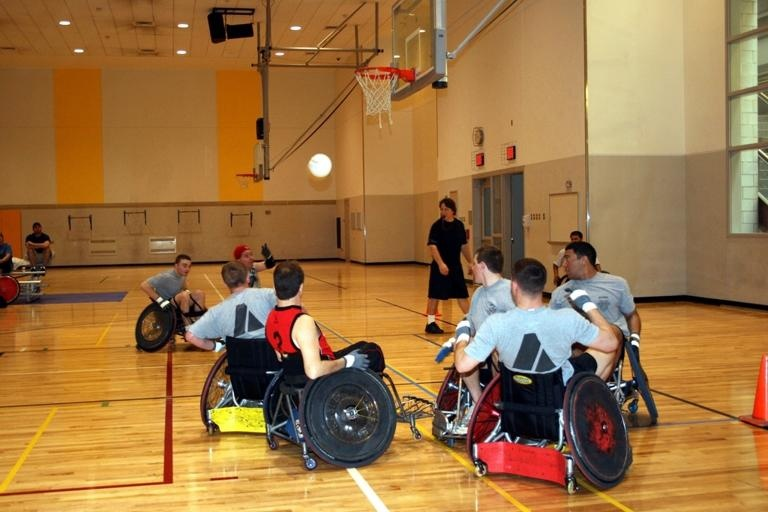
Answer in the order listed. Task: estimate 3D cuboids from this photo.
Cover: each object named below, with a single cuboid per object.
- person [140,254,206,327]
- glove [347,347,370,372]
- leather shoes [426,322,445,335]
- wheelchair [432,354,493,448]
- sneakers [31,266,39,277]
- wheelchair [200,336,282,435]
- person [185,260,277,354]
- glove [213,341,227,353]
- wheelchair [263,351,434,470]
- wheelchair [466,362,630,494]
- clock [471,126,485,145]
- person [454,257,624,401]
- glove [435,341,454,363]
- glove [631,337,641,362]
[{"bbox_3d":[-2.967,0.580,8.545,0.784,1.180,0.745,-8,-6,25],"label":"person"},{"bbox_3d":[-0.208,0.835,4.699,0.044,0.148,0.141,-11,4,36],"label":"glove"},{"bbox_3d":[0.807,1.128,9.161,0.147,0.129,0.272,0,-3,-30],"label":"leather shoes"},{"bbox_3d":[0.769,1.370,5.227,0.702,0.636,0.581,-2,-2,-6],"label":"wheelchair"},{"bbox_3d":[-8.301,0.360,14.043,0.166,0.249,0.093,-1,-1,2],"label":"sneakers"},{"bbox_3d":[-1.130,1.022,5.101,0.618,0.949,0.776,9,-8,-7],"label":"wheelchair"},{"bbox_3d":[-1.300,0.456,5.253,0.837,0.788,0.479,-2,3,20],"label":"person"},{"bbox_3d":[-1.493,0.838,5.405,0.098,0.136,0.133,1,-6,-1],"label":"glove"},{"bbox_3d":[-0.335,1.110,5.069,1.083,1.135,0.901,-6,5,-22],"label":"wheelchair"},{"bbox_3d":[1.236,1.154,4.400,0.833,1.046,1.083,-13,3,39],"label":"wheelchair"},{"bbox_3d":[2.394,-3.016,14.887,0.118,0.492,0.445,-4,3,-18],"label":"clock"},{"bbox_3d":[1.145,0.502,4.489,1.327,1.218,0.856,-2,30,16],"label":"person"},{"bbox_3d":[0.512,0.807,4.942,0.134,0.215,0.396,-3,3,7],"label":"glove"},{"bbox_3d":[2.323,0.838,5.465,0.085,0.223,0.360,-2,4,21],"label":"glove"}]
